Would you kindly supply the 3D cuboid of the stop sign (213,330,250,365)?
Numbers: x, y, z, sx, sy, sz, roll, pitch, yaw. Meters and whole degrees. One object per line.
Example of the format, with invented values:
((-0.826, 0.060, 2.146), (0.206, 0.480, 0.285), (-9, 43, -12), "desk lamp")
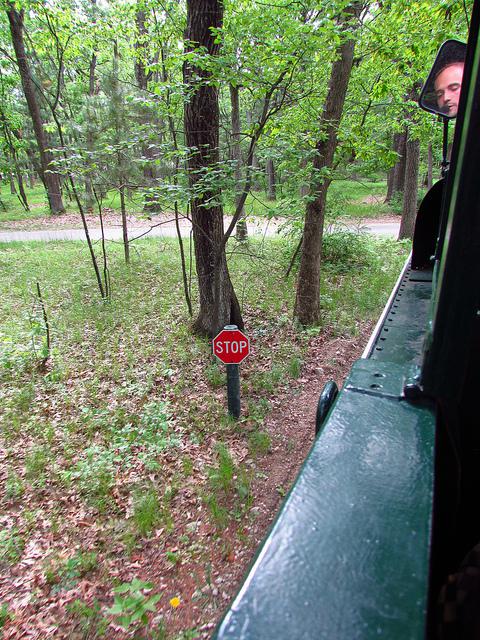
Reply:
((-0.087, 0.256, 4.494), (0.308, 0.392, 0.167), (-4, 22, -4), "stop sign")
